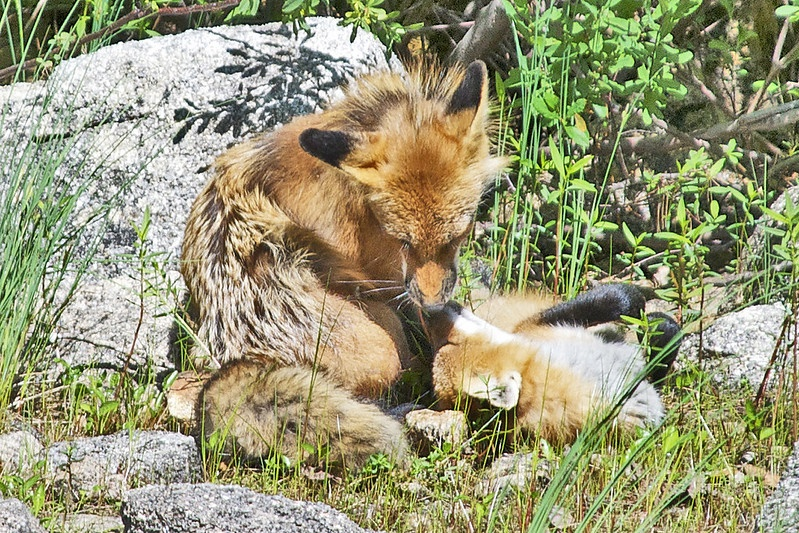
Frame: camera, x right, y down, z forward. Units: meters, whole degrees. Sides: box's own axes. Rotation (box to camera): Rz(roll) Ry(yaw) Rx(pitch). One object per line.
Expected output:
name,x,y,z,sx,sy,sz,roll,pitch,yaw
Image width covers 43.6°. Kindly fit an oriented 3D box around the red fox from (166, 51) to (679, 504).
red fox,-0.273,-0.069,4.505,1.354,1.779,0.883,4,16,-13
